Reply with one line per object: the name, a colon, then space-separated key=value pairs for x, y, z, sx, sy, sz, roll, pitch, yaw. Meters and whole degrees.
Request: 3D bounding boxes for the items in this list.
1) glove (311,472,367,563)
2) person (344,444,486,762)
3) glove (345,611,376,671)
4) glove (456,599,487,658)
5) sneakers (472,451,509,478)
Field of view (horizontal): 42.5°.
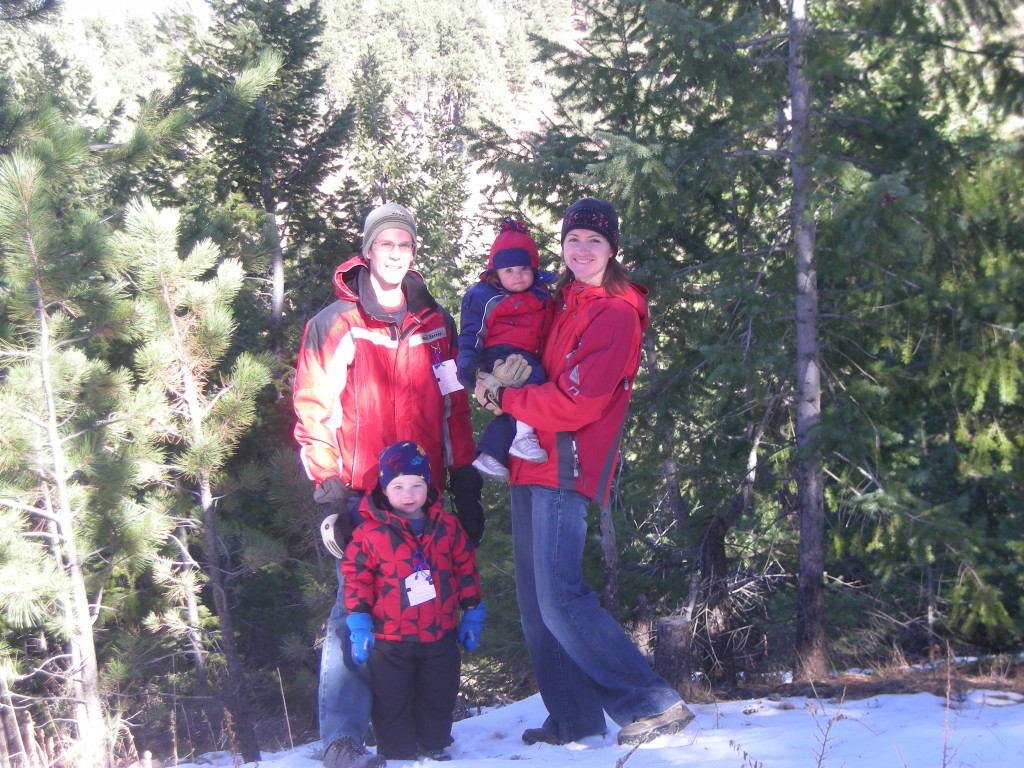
glove: x=-1.940 y=1.381 z=14.315 sx=0.523 sy=1.015 sz=0.597 roll=2 pitch=10 yaw=14
person: x=-1.083 y=2.337 z=14.135 sx=1.424 sy=3.364 sz=0.743 roll=-4 pitch=-8 yaw=-10
glove: x=-1.607 y=2.722 z=13.952 sx=0.282 sy=0.568 sz=0.203 roll=4 pitch=-21 yaw=-33
glove: x=-0.454 y=2.652 z=14.302 sx=0.284 sy=0.543 sz=0.186 roll=11 pitch=1 yaw=-8
sneakers: x=-0.247 y=0.867 z=14.108 sx=0.380 sy=0.170 sz=0.208 roll=38 pitch=-2 yaw=32
